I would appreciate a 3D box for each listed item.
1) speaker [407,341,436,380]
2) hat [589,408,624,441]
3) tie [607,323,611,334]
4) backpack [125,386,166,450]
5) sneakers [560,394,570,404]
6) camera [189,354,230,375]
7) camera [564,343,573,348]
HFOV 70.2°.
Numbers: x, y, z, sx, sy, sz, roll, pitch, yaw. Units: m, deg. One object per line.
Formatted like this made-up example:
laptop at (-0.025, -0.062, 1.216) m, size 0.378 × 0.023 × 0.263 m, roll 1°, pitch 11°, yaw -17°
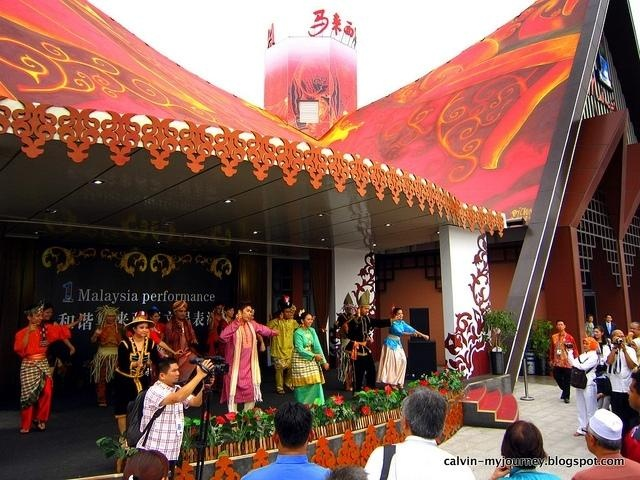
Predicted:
speaker at (2.313, 2.779, 10.435) m, size 0.738 × 0.932 × 0.797 m, roll 1°, pitch -7°, yaw -14°
hat at (2.278, 1.508, 3.624) m, size 0.164 × 0.096 × 0.180 m, roll -4°, pitch -7°, yaw 3°
tie at (9.378, 2.930, 14.871) m, size 0.048 × 0.229 × 0.149 m, roll -3°, pitch 4°, yaw 41°
backpack at (-1.791, 1.787, 4.634) m, size 0.317 × 0.583 × 0.351 m, roll 16°, pitch -15°, yaw -23°
sneakers at (5.529, 3.604, 10.329) m, size 0.102 × 0.226 × 0.319 m, roll -1°, pitch -28°, yaw 5°
camera at (-1.079, 1.221, 4.487) m, size 0.313 × 0.170 × 0.203 m, roll 11°, pitch 5°, yaw -5°
camera at (5.062, 2.188, 9.389) m, size 0.193 × 0.062 × 0.223 m, roll -4°, pitch -4°, yaw 32°
